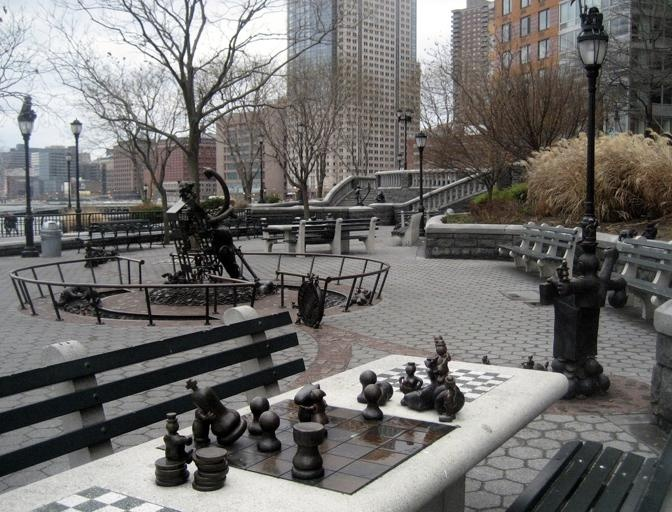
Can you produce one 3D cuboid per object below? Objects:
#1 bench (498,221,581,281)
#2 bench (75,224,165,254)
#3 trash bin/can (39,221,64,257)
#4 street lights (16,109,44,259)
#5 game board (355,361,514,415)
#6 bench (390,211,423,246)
[{"bbox_3d":[5.127,-0.123,12.784,1.137,1.333,3.748,1,5,7],"label":"bench"},{"bbox_3d":[-9.261,-0.881,23.096,2.666,1.116,5.831,0,5,-12],"label":"bench"},{"bbox_3d":[-11.187,-0.615,20.041,0.624,1.349,0.896,-3,6,-36],"label":"trash bin/can"},{"bbox_3d":[-12.410,-3.225,20.672,0.885,6.406,0.879,-1,-3,-33],"label":"street lights"},{"bbox_3d":[0.636,0.806,3.466,0.697,0.282,0.934,3,6,35],"label":"game board"},{"bbox_3d":[3.082,-1.176,22.514,1.161,1.368,3.362,1,5,2],"label":"bench"}]
